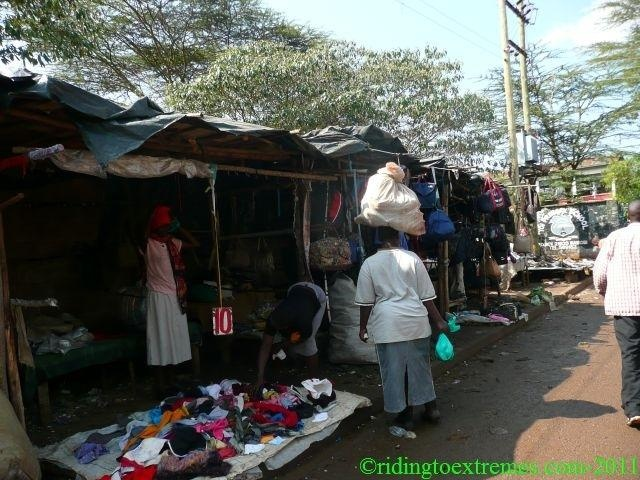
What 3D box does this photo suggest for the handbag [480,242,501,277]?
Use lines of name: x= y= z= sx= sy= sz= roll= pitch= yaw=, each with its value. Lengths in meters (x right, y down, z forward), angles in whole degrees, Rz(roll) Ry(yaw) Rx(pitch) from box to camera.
handbag: x=3.847 y=0.467 z=11.022 sx=0.406 sy=0.827 sz=0.533 roll=2 pitch=8 yaw=19

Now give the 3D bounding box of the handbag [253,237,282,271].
handbag: x=-0.914 y=0.258 z=8.459 sx=0.409 sy=0.582 sz=0.429 roll=-1 pitch=7 yaw=-5

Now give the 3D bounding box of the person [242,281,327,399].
person: x=-0.384 y=1.188 z=6.003 sx=0.635 sy=1.230 sz=1.098 roll=2 pitch=7 yaw=19

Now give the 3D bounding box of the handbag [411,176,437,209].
handbag: x=1.801 y=-0.754 z=8.409 sx=0.442 sy=0.455 sz=0.349 roll=-2 pitch=7 yaw=-15

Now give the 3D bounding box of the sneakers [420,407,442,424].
sneakers: x=1.256 y=2.002 z=5.558 sx=0.258 sy=0.216 sz=0.111 roll=-17 pitch=-5 yaw=33

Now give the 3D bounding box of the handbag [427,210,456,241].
handbag: x=2.042 y=-0.229 z=8.332 sx=0.610 sy=0.536 sz=0.315 roll=5 pitch=-15 yaw=-32

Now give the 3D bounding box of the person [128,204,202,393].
person: x=-1.961 y=0.762 z=6.242 sx=0.504 sy=2.350 sz=0.534 roll=-3 pitch=8 yaw=-17

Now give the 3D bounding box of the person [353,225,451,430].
person: x=0.859 y=0.842 z=5.374 sx=0.665 sy=1.933 sz=0.657 roll=-8 pitch=11 yaw=-44

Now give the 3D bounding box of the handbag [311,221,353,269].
handbag: x=0.103 y=0.100 z=7.287 sx=0.514 sy=0.656 sz=0.718 roll=-14 pitch=-9 yaw=39

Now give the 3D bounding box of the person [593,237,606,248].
person: x=9.104 y=0.090 z=16.037 sx=0.420 sy=0.201 sz=0.770 roll=0 pitch=-8 yaw=8
